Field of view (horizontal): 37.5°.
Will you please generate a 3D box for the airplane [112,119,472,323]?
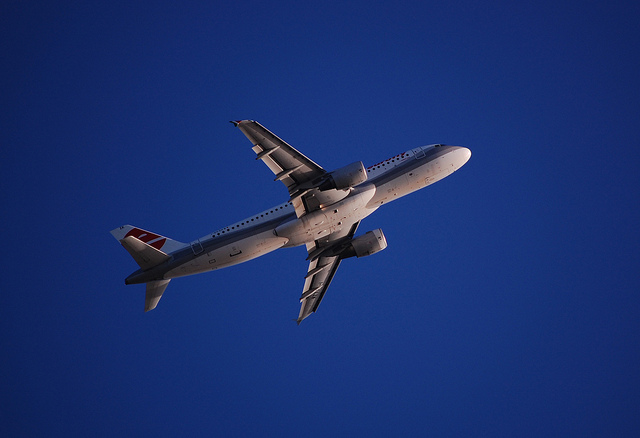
[{"bbox_3d":[-2.328,-0.661,63.161,12.580,5.356,19.278,43,-77,-11],"label":"airplane"}]
